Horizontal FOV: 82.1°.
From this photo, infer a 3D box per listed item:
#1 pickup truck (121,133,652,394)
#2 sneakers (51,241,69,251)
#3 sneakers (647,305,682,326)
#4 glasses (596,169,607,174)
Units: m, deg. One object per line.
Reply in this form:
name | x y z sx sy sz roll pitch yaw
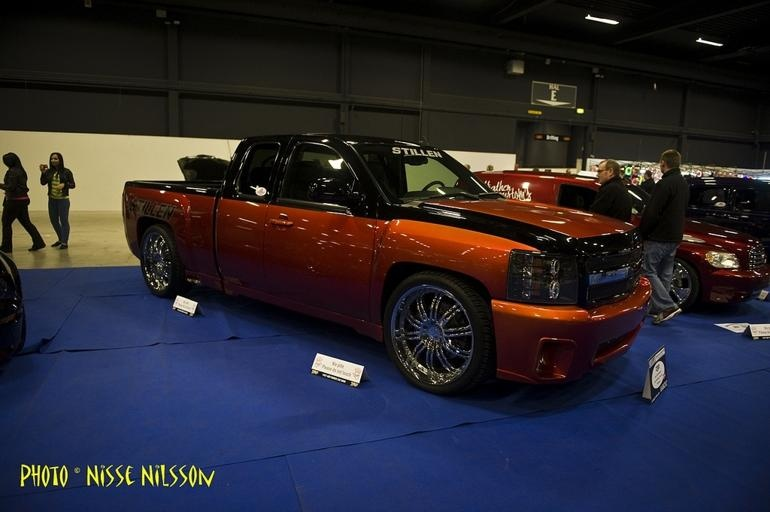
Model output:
pickup truck | -0.367 -0.060 5.036 5.619 1.777 2.346 8 11 34
sneakers | -6.696 -0.239 9.202 0.536 0.229 0.193 7 11 31
sneakers | 3.484 0.791 5.604 0.455 0.191 0.168 -21 2 34
glasses | 3.221 -1.276 6.589 0.122 0.091 0.106 15 16 41
